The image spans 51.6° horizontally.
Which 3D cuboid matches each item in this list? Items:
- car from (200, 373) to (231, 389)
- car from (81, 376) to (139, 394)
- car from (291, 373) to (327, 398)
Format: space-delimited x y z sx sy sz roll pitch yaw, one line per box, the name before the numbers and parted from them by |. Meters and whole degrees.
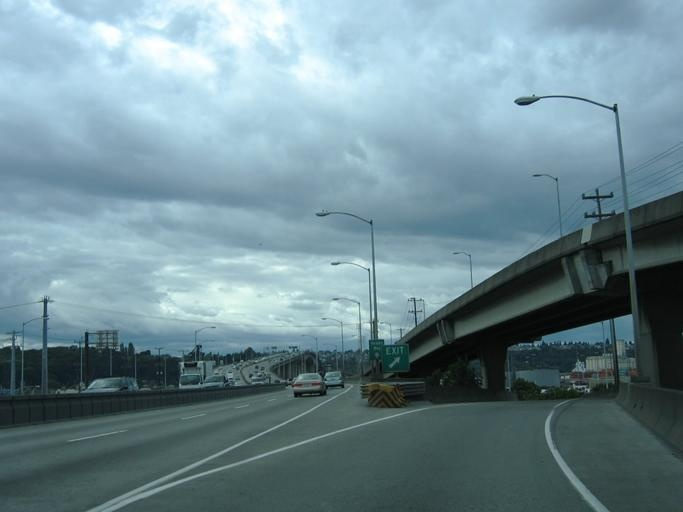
car | -11.508 10.868 61.061 1.352 1.281 2.511 -3 -18 7
car | -13.921 7.576 41.620 2.604 1.289 4.284 1 -16 -12
car | -2.355 8.175 45.425 1.435 1.444 2.315 -10 -17 29
